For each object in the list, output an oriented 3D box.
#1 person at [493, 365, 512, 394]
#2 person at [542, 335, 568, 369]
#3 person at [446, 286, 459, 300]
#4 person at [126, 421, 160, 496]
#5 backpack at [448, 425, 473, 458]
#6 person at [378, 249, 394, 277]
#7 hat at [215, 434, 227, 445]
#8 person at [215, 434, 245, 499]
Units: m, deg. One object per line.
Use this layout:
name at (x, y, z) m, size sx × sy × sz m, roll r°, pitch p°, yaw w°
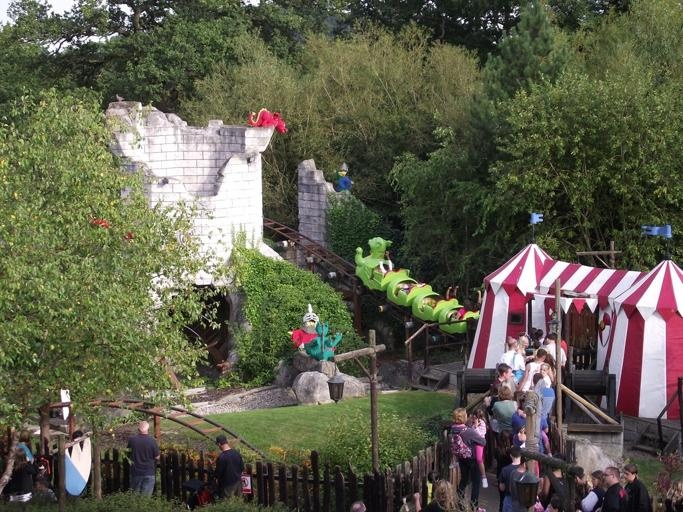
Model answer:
person at (3.899, 3.053, 38.716) m, size 0.449 × 0.931 × 0.895 m, roll -3°, pitch 7°, yaw 4°
person at (5.276, 2.428, 40.015) m, size 0.439 × 0.880 × 0.852 m, roll -3°, pitch 8°, yaw -8°
person at (3.523, 1.223, 51.723) m, size 0.485 × 0.258 × 0.793 m, roll -7°, pitch 12°, yaw 10°
person at (-4.813, 4.998, 38.963) m, size 0.741 × 2.202 × 0.695 m, roll 6°, pitch 22°, yaw 1°
backpack at (2.830, 4.433, 38.217) m, size 0.531 × 0.837 × 0.495 m, roll -3°, pitch 3°, yaw 32°
person at (1.380, 0.296, 52.066) m, size 0.406 × 0.512 × 1.432 m, roll 14°, pitch -4°, yaw 4°
hat at (-2.883, 4.374, 38.146) m, size 0.183 × 0.167 × 0.272 m, roll -6°, pitch 7°, yaw -15°
person at (-2.688, 4.970, 37.991) m, size 0.697 × 1.484 × 0.412 m, roll -7°, pitch -11°, yaw -5°
